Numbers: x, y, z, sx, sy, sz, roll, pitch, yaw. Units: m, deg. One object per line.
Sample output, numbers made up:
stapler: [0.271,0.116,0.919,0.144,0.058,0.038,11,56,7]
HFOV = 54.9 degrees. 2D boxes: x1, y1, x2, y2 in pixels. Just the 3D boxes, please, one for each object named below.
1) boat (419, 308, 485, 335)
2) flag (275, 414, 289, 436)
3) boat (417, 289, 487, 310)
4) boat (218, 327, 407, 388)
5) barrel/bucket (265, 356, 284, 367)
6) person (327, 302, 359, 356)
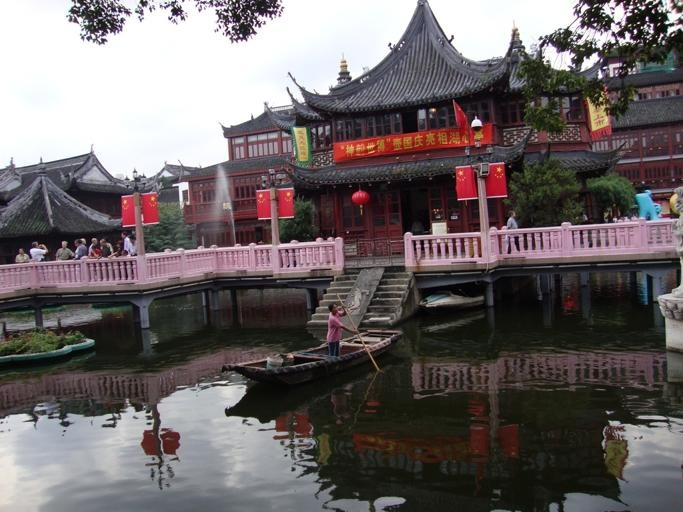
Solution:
boat: [3.587,2.148,21.224,1.481,0.204,3.321,1,11,27]
flag: [-1.199,3.513,13.550,0.210,0.291,0.174,4,25,6]
boat: [3.832,1.535,22.792,2.275,0.387,0.792,2,-6,-42]
boat: [-0.299,2.635,16.266,1.511,0.517,4.465,-7,-3,39]
barrel/bucket: [-1.580,2.509,15.517,0.315,0.173,0.280,0,-3,-16]
person: [0.047,2.020,17.691,0.777,1.703,0.716,-7,29,-8]
